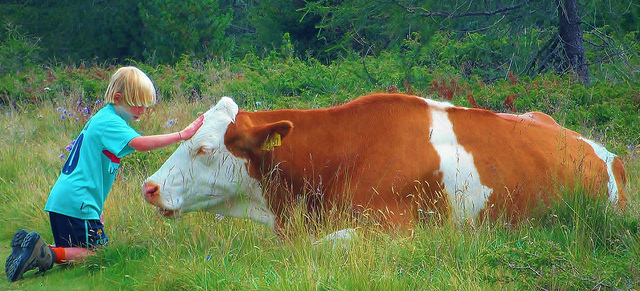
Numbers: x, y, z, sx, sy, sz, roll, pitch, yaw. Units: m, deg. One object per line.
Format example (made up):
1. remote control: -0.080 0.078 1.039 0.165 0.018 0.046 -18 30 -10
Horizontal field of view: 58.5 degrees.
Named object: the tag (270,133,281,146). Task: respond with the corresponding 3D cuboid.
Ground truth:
1. tag: -0.936 -0.135 12.125 0.233 0.265 0.073 1 -3 6
